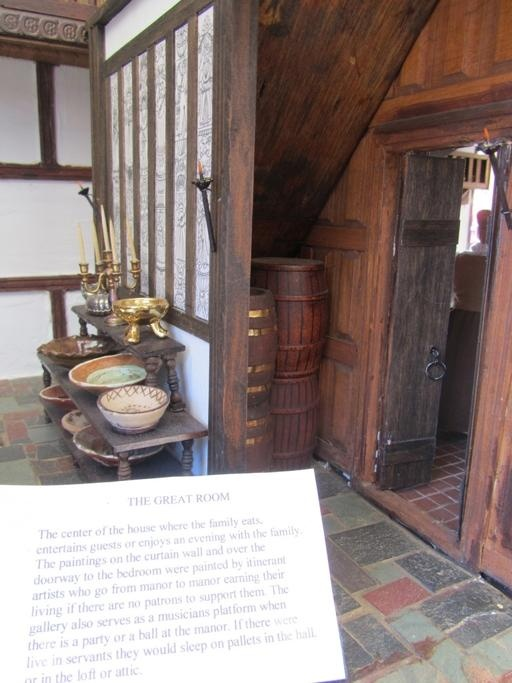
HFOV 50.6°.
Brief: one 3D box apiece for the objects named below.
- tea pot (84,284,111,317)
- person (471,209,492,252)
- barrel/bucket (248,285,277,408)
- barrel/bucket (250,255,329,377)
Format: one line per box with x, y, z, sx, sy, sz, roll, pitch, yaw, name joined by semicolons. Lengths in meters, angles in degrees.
-0.920;-0.215;3.151;0.169;0.136;0.139;-1;7;26;tea pot
1.560;-0.773;3.740;0.093;0.329;1.294;9;13;20;person
0.020;0.060;2.422;0.079;0.532;0.210;10;14;26;barrel/bucket
0.160;-0.099;3.004;0.521;0.645;0.496;0;14;0;barrel/bucket
